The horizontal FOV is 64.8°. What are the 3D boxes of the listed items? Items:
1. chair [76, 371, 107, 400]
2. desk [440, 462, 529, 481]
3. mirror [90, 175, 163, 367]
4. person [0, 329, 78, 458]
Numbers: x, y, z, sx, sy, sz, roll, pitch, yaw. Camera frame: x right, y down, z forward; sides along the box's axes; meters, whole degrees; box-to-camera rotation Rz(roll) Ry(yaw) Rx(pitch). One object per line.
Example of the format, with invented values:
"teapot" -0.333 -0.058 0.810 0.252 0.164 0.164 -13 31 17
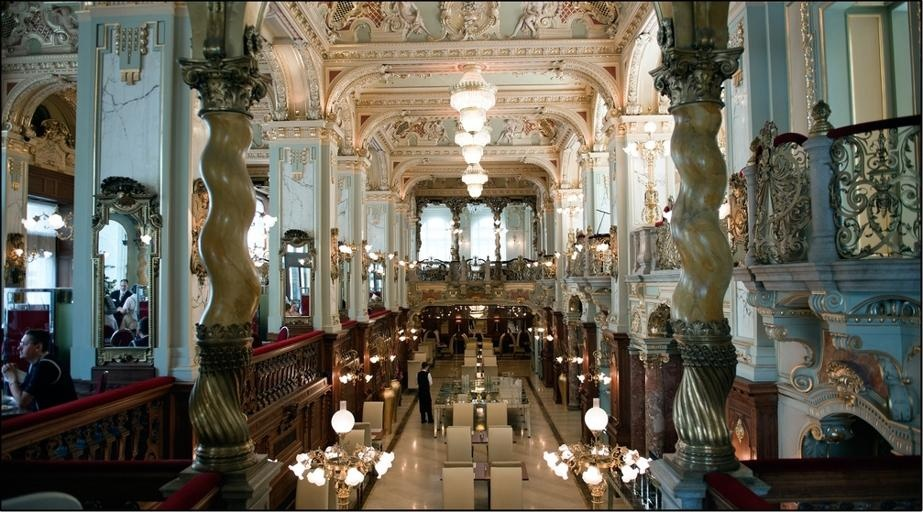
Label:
"chair" -5.791 2.033 11.382 0.366 0.431 0.281 -4 -13 20
"desk" 0.395 4.480 15.288 1.890 0.397 0.752 0 9 3
"mirror" -5.367 0.248 11.659 1.090 3.040 0.283 -1 -4 9
"person" -6.429 1.727 10.976 1.073 1.207 3.138 2 -4 -27
